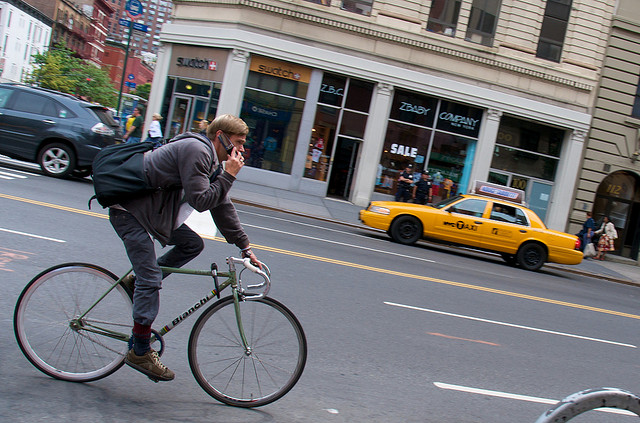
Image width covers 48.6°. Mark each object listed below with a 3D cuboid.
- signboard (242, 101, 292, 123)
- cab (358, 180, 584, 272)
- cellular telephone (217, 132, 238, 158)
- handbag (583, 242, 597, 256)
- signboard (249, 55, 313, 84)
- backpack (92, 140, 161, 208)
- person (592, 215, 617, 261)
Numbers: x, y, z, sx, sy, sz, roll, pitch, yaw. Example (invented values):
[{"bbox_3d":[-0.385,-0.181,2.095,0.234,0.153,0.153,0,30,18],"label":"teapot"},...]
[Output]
[{"bbox_3d":[-2.036,-3.860,27.351,1.906,0.530,0.095,8,6,-8],"label":"signboard"},{"bbox_3d":[4.409,0.392,20.704,6.741,1.833,2.389,13,-5,-3],"label":"cab"},{"bbox_3d":[-1.054,-0.754,8.041,0.300,0.164,0.078,52,27,11],"label":"cellular telephone"},{"bbox_3d":[10.493,1.459,27.516,0.436,0.504,0.495,13,5,19],"label":"handbag"},{"bbox_3d":[-1.441,-5.461,27.409,0.134,0.798,3.337,12,7,40],"label":"signboard"},{"bbox_3d":[-2.267,-0.443,8.071,0.653,0.793,0.342,11,5,-9],"label":"backpack"},{"bbox_3d":[11.592,1.073,28.485,0.734,1.696,1.486,17,7,37],"label":"person"}]
